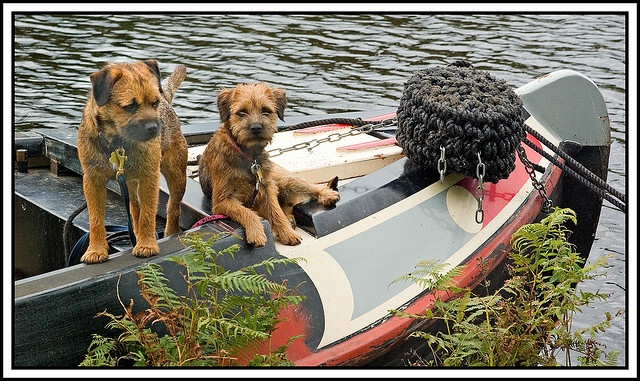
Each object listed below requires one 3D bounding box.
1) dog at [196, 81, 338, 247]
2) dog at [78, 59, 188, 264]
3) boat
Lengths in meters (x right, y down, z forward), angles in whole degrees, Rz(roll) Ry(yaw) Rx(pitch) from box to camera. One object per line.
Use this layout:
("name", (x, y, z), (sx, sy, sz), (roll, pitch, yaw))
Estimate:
("dog", (-0.462, -0.315, 5.787), (1.197, 1.069, 1.395), (-2, -8, 18))
("dog", (-1.370, -0.232, 4.913), (0.561, 1.477, 0.849), (8, 16, 29))
("boat", (0.124, 0.362, 5.788), (4.891, 1.253, 2.870), (-14, 25, -34))
